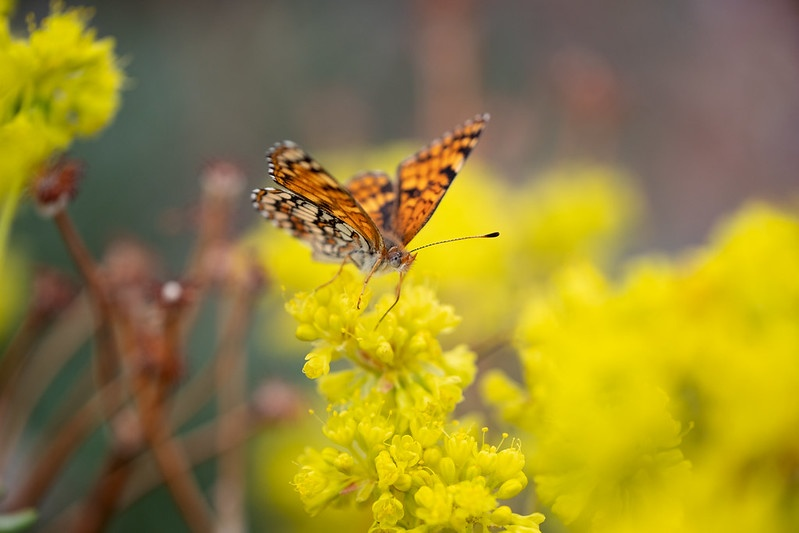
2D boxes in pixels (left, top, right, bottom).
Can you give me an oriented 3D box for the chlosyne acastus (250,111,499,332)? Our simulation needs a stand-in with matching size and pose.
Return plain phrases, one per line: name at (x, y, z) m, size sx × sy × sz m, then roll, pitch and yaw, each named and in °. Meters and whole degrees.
chlosyne acastus at (-0.037, -0.049, 1.036) m, size 0.244 × 0.218 × 0.292 m, roll 15°, pitch 18°, yaw 36°
